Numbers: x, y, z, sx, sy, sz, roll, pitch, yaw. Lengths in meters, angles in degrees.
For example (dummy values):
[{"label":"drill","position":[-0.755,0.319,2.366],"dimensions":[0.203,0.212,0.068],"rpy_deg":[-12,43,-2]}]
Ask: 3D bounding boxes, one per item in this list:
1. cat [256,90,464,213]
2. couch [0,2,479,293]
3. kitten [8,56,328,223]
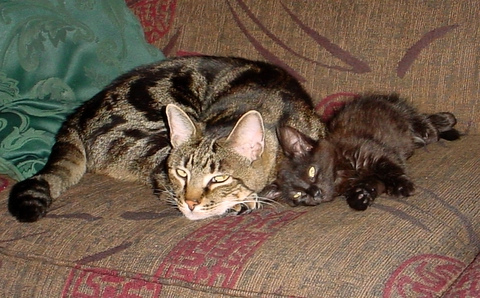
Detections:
[{"label":"cat","position":[0.548,-0.003,2.138],"dimensions":[0.565,0.779,0.279],"rpy_deg":[10,-53,44]},{"label":"couch","position":[0.207,0.005,1.893],"dimensions":[1.763,1.462,0.395],"rpy_deg":[-1,-48,20]},{"label":"kitten","position":[-0.244,-0.047,2.170],"dimensions":[1.433,0.792,0.424],"rpy_deg":[-5,-43,-3]}]
